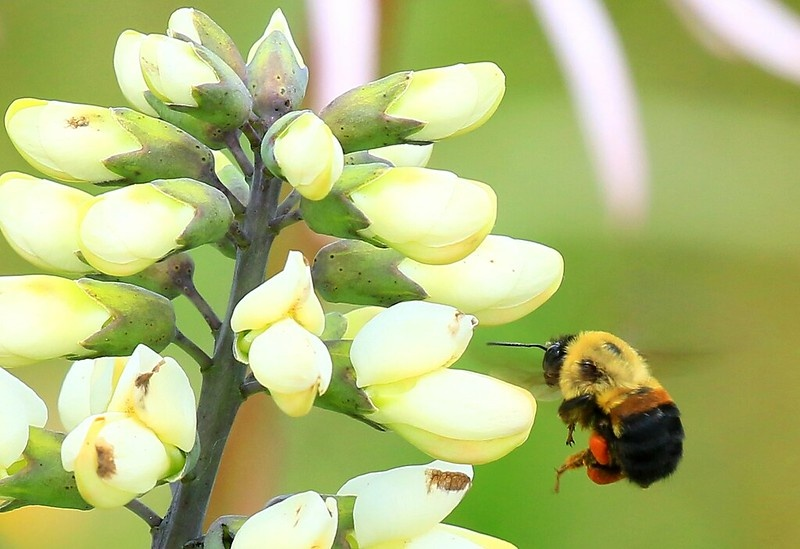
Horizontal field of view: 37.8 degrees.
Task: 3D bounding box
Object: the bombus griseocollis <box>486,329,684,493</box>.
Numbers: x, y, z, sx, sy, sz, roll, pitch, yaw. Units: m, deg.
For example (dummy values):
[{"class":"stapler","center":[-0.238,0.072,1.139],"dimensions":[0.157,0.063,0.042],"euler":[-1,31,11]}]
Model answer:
[{"class":"bombus griseocollis","center":[0.329,0.191,1.876],"dimensions":[0.219,0.281,0.185],"euler":[4,9,34]}]
